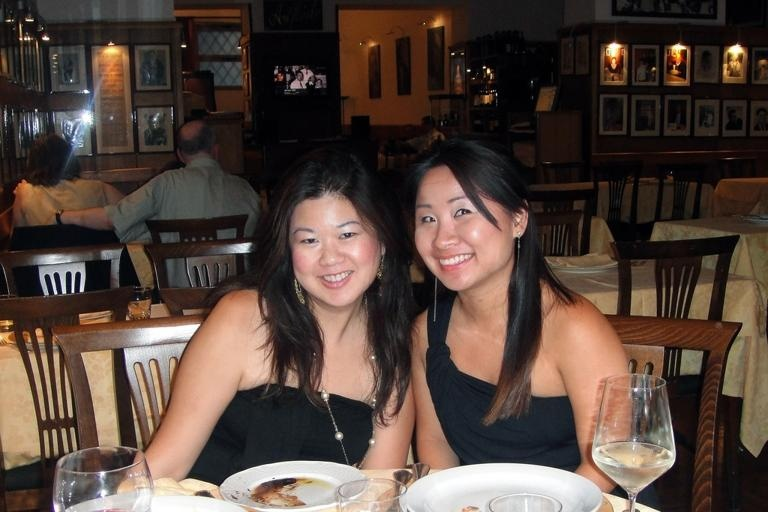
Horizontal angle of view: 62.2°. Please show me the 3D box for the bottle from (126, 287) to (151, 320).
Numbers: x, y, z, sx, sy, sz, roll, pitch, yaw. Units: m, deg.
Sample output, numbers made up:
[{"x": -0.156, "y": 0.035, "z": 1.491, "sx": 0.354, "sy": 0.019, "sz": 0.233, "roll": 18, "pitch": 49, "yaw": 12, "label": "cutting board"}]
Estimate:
[{"x": -1.072, "y": 0.214, "z": 2.788, "sx": 0.136, "sy": 0.152, "sz": 0.132, "roll": 0, "pitch": 6, "yaw": -20, "label": "bottle"}]

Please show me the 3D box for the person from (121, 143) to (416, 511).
[{"x": -0.322, "y": 0.199, "z": 2.175, "sx": 0.894, "sy": 1.106, "sz": 0.262, "roll": -3, "pitch": 7, "yaw": -15, "label": "person"}]

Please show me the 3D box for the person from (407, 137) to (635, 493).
[{"x": 0.435, "y": 0.189, "z": 2.190, "sx": 0.719, "sy": 1.151, "sz": 0.283, "roll": 1, "pitch": 7, "yaw": 19, "label": "person"}]

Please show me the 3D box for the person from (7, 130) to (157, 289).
[{"x": -2.637, "y": -0.024, "z": 5.557, "sx": 0.881, "sy": 2.083, "sz": 0.614, "roll": -10, "pitch": 38, "yaw": -31, "label": "person"}]

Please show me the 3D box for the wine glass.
[{"x": 0.622, "y": 0.469, "z": 1.593, "sx": 0.175, "sy": 0.297, "sz": 0.161, "roll": 3, "pitch": 8, "yaw": 34, "label": "wine glass"}]

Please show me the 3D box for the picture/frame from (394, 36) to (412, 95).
[{"x": 0.440, "y": -4.557, "z": 15.364, "sx": 0.046, "sy": 1.346, "sz": 0.724, "roll": 15, "pitch": 25, "yaw": 35, "label": "picture/frame"}]

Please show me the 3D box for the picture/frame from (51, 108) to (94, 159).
[{"x": -3.594, "y": -1.455, "z": 7.373, "sx": 0.420, "sy": 0.571, "sz": 0.016, "roll": -2, "pitch": -13, "yaw": -16, "label": "picture/frame"}]
